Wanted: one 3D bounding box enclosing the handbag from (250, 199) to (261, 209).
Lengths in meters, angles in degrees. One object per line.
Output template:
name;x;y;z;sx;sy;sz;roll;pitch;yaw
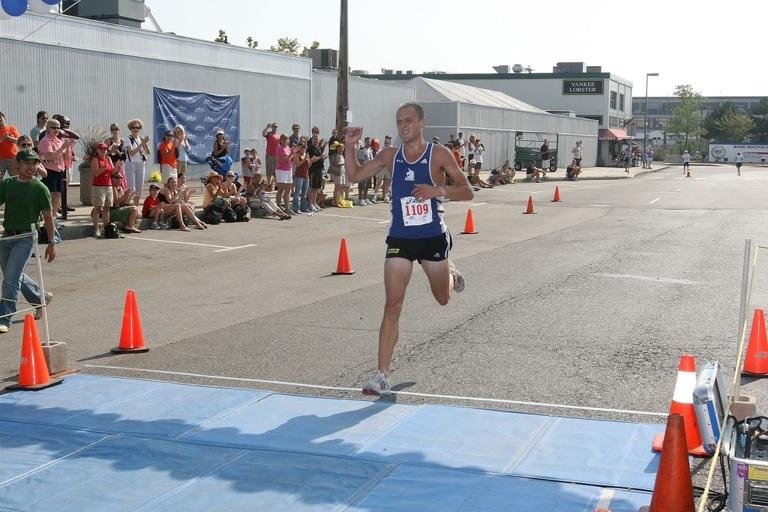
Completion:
handbag;-3.706;-1.535;19.088;0.274;0.201;0.253;1;5;14

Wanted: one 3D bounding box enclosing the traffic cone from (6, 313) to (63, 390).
traffic cone;-3.428;0.968;6.656;0.634;0.843;0.629;-2;0;-21

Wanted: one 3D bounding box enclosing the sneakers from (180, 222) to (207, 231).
sneakers;-4.794;-0.756;16.562;0.641;0.259;0.218;2;4;16

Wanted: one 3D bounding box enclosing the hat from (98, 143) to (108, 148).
hat;-6.272;-2.491;14.661;0.178;0.120;0.239;-2;9;-38

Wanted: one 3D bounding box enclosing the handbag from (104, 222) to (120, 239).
handbag;-6.199;-0.563;14.983;0.361;0.357;0.263;-2;9;-21

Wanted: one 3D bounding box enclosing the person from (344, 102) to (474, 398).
person;0.277;-0.100;6.443;1.227;2.767;0.964;-1;10;-4

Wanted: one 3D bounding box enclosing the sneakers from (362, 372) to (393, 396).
sneakers;-0.049;1.247;6.295;0.135;0.171;0.347;-3;-12;22

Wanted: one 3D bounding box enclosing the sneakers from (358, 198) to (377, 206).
sneakers;-0.586;-1.972;23.721;0.661;0.287;0.227;2;11;24
